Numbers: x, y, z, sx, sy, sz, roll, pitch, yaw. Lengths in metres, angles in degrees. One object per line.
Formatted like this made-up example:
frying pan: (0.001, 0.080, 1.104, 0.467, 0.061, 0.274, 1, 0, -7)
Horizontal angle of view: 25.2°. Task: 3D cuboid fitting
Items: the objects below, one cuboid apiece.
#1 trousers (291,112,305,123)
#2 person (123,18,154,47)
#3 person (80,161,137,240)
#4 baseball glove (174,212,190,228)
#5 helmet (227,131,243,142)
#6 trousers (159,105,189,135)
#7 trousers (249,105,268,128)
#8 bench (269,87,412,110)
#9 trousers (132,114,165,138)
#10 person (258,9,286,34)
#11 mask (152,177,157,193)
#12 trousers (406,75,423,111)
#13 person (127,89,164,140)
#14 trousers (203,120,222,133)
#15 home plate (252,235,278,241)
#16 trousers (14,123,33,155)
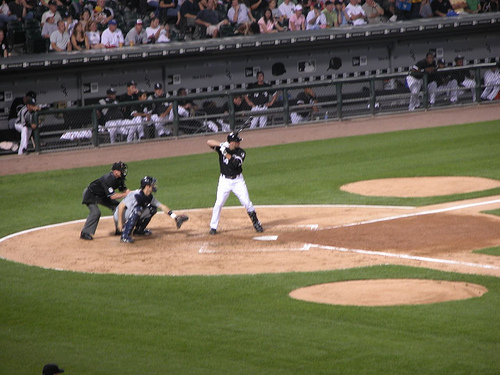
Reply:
trousers: (1.557, -2.367, 36.849, 0.313, 0.322, 0.089, 4, 4, -16)
person: (-3.643, -5.115, 36.856, 0.571, 0.690, 1.313, -6, 7, -19)
person: (-3.591, 0.267, 27.840, 1.171, 2.007, 1.102, -1, 20, -27)
baseball glove: (-1.711, 0.762, 27.444, 0.145, 0.476, 0.194, -2, 15, 16)
helmet: (-0.332, -1.261, 27.240, 0.373, 0.214, 0.241, -17, 9, -22)
trousers: (-2.310, -2.222, 35.836, 0.837, 0.850, 0.225, 15, 4, 5)
trousers: (0.318, -2.345, 36.475, 0.523, 0.726, 0.213, 5, 3, -11)
bench: (3.118, -3.125, 37.925, 5.275, 1.123, 0.935, 2, 15, 27)
trousers: (-3.202, -2.017, 35.594, 0.740, 0.744, 0.233, 0, 11, -21)
person: (0.748, -5.822, 39.049, 0.920, 1.005, 0.660, -9, 16, 2)
mask: (-2.342, -0.061, 27.356, 0.098, 0.378, 0.415, -3, 7, -4)
trousers: (5.493, -3.213, 37.644, 0.640, 1.155, 0.417, -9, 9, -44)
person: (-3.258, -2.157, 35.154, 1.293, 1.249, 0.597, -9, 9, -43)
trousers: (-1.138, -1.996, 36.036, 0.478, 0.387, 0.066, -5, 7, -19)
home plate: (0.377, 1.217, 27.201, 0.571, 0.009, 0.208, 2, 30, 12)
trousers: (-6.998, -1.555, 34.594, 0.604, 0.957, 0.307, 1, 7, 28)
